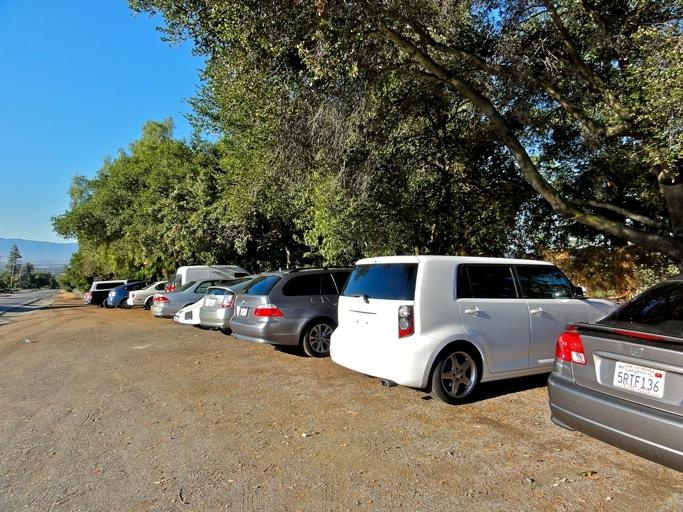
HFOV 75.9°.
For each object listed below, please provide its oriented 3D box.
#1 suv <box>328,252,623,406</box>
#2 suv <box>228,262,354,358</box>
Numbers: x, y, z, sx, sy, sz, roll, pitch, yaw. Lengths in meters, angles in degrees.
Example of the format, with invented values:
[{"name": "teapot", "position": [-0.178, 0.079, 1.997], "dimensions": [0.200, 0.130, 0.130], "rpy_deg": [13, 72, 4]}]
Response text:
[{"name": "suv", "position": [1.926, 0.874, 6.992], "dimensions": [3.621, 1.639, 2.100], "rpy_deg": [-4, 2, -26]}, {"name": "suv", "position": [-1.091, 1.123, 9.326], "dimensions": [2.805, 1.178, 1.363], "rpy_deg": [-3, 1, -33]}]
